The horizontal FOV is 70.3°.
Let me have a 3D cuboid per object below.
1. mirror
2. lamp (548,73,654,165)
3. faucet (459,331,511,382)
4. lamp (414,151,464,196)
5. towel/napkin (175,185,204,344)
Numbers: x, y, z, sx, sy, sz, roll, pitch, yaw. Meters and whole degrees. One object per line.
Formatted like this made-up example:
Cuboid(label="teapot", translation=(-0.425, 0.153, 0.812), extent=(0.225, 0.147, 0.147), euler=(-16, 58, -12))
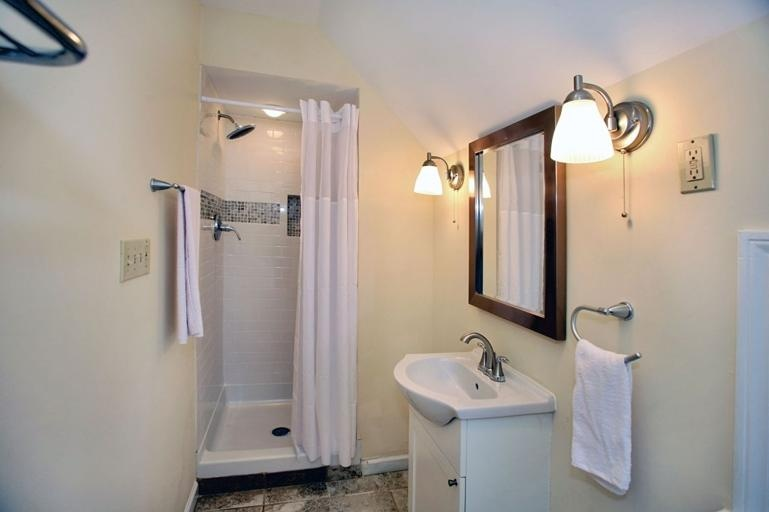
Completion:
Cuboid(label="mirror", translation=(0.649, -0.161, 2.801), extent=(0.059, 1.031, 0.754), euler=(-2, 3, -21))
Cuboid(label="lamp", translation=(0.844, -0.538, 2.160), extent=(0.371, 0.319, 0.222), euler=(-7, 8, -25))
Cuboid(label="faucet", translation=(0.517, 0.536, 2.824), extent=(0.201, 0.197, 0.319), euler=(3, -2, -9))
Cuboid(label="lamp", translation=(0.313, -0.472, 3.188), extent=(0.279, 0.226, 0.177), euler=(1, 7, -24))
Cuboid(label="towel/napkin", translation=(-0.970, 0.043, 2.740), extent=(0.100, 0.766, 0.277), euler=(-1, 4, 9))
